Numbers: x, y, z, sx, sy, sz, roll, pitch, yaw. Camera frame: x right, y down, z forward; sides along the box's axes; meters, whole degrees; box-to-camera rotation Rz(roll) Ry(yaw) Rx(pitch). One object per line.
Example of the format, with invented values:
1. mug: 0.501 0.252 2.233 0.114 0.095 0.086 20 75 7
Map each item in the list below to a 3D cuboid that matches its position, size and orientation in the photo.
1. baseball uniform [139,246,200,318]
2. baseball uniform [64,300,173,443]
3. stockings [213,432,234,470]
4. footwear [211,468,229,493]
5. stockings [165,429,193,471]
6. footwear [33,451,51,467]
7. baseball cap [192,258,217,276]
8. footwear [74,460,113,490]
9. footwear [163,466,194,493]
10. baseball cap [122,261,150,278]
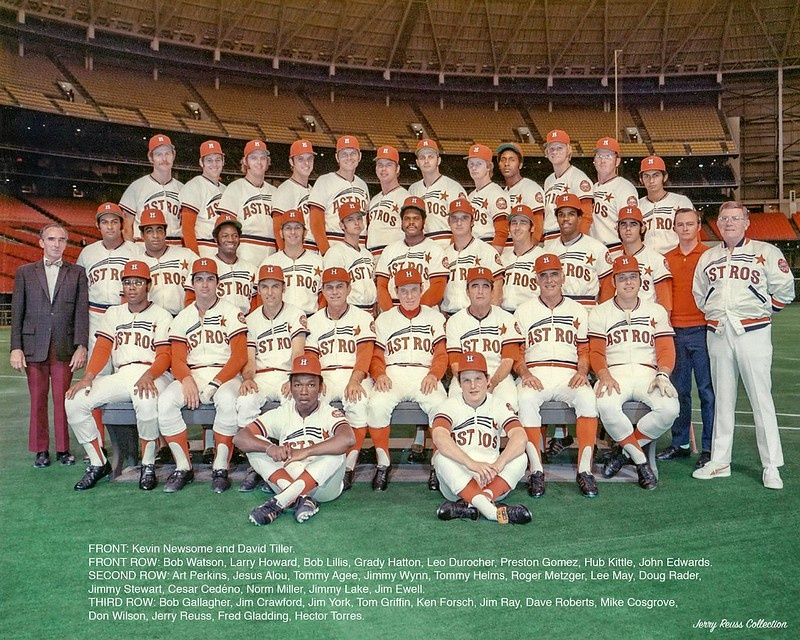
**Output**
1. baseball uniform: -2.898 -0.437 8.684 1.039 1.050 0.568 0 1 -7
2. baseball uniform: -3.200 0.597 7.969 1.083 1.523 0.922 -1 5 -1
3. stockings: -1.947 1.431 7.641 0.210 0.415 0.225 -2 5 -16
4. footwear: -1.918 1.730 7.451 0.196 0.188 0.312 -2 5 -13
5. stockings: -2.487 1.451 7.804 0.258 0.460 0.514 -2 5 -19
6. footwear: -4.350 1.701 8.458 0.180 0.153 0.274 -3 5 -27
7. baseball cap: -2.256 -0.607 8.037 0.273 0.192 0.162 -2 5 -19
8. footwear: -3.384 1.717 7.670 0.155 0.167 0.445 -8 4 21
9. footwear: -2.415 1.733 7.572 0.234 0.182 0.457 -1 4 -4
10. baseball cap: -3.091 -0.572 8.124 0.281 0.223 0.245 -2 5 -12
